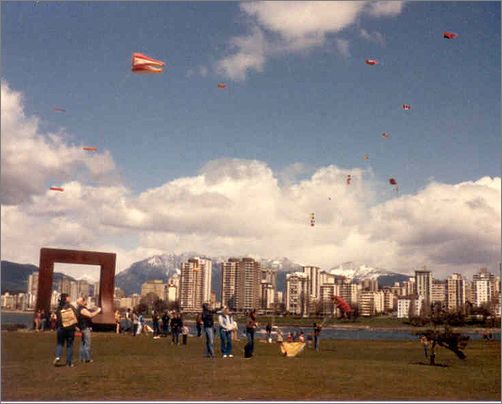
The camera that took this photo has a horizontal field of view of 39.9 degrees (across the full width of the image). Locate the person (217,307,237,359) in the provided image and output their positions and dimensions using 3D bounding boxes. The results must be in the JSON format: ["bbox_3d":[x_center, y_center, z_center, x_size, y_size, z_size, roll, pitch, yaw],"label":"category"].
[{"bbox_3d":[-1.070,5.639,30.249,0.751,2.146,0.669,1,-11,-8],"label":"person"}]

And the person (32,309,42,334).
[{"bbox_3d":[-14.761,8.151,47.696,0.389,1.423,1.531,7,-14,-25],"label":"person"}]

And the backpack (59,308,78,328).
[{"bbox_3d":[-6.708,4.225,25.279,0.641,0.813,0.438,-10,-4,-40],"label":"backpack"}]
